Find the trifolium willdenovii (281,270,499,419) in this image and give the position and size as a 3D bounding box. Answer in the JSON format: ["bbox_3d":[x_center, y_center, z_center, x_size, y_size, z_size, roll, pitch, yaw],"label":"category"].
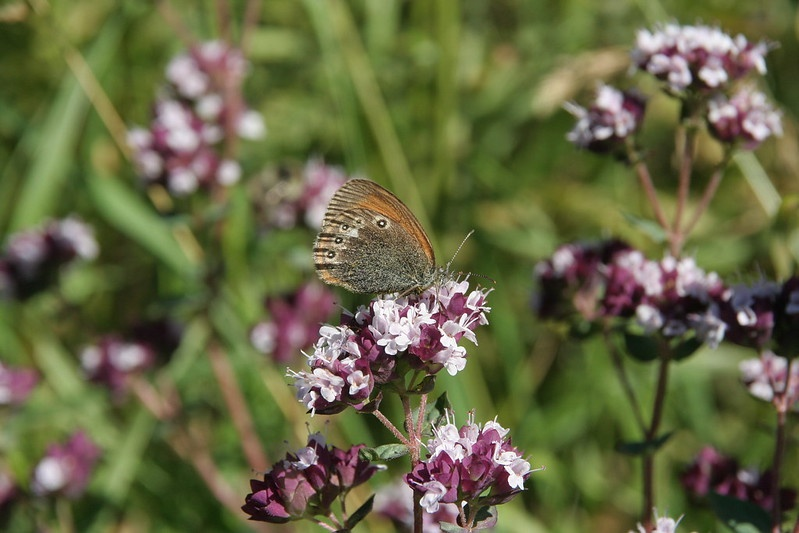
[{"bbox_3d":[-0.040,0.305,3.883,0.574,0.578,0.410,0,7,4],"label":"trifolium willdenovii"}]

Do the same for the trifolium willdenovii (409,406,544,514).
[{"bbox_3d":[0.248,0.715,3.609,0.387,0.237,0.331,-15,23,-22],"label":"trifolium willdenovii"}]
